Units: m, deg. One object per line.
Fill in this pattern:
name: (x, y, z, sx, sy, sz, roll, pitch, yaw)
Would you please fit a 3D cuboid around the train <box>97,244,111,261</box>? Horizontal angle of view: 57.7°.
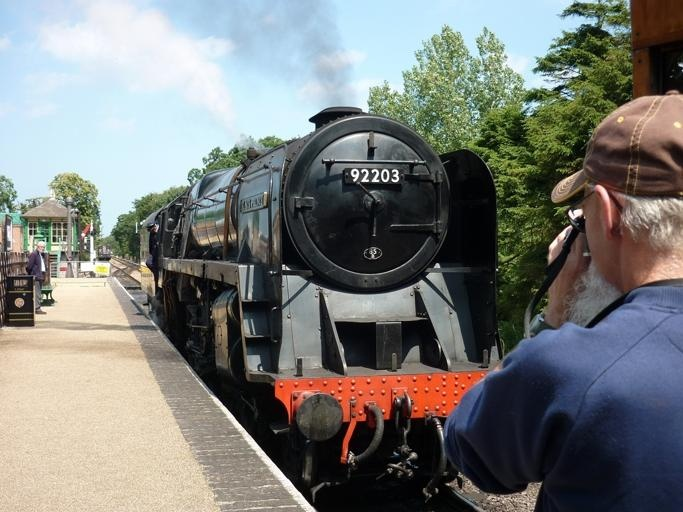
train: (-29.223, -0.434, 75.318, 1.908, 2.160, 5.943, 0, -2, -15)
